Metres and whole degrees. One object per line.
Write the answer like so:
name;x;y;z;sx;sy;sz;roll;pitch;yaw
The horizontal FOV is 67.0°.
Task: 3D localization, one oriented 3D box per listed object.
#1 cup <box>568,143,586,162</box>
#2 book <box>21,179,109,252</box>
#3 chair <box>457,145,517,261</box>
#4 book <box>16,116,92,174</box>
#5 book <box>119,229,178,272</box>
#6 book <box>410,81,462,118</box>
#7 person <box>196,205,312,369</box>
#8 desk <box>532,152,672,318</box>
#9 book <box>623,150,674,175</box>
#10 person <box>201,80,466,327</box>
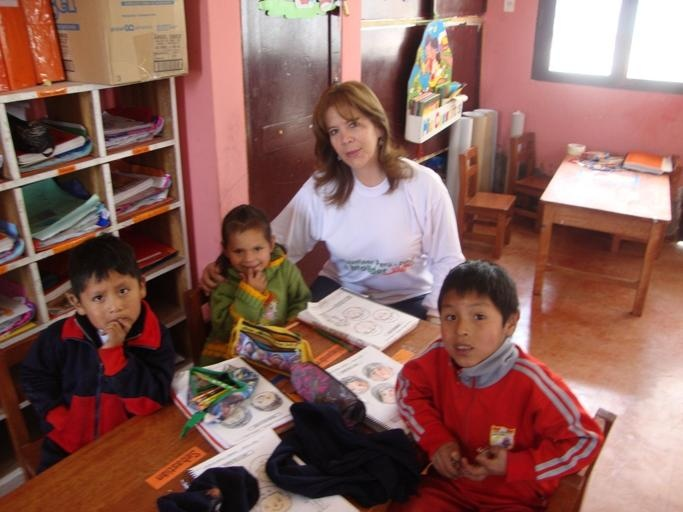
cup;2.036;-0.904;4.464;0.190;0.112;0.186;2;30;-1
book;-1.276;-0.184;2.353;0.365;0.128;0.340;-26;50;-34
chair;1.214;-0.428;4.370;0.565;1.002;0.580;9;39;22
book;-1.215;-0.470;2.198;0.263;0.091;0.256;-20;37;-33
book;-1.034;-0.046;2.731;0.236;0.056;0.245;27;34;30
book;0.702;-1.194;3.943;0.080;0.101;0.482;34;40;21
person;-0.350;0.269;2.277;0.486;0.890;0.334;-6;27;-10
desk;2.069;-0.160;4.042;0.759;0.648;1.378;14;23;31
book;2.434;-0.737;4.117;0.293;0.088;0.293;13;34;26
person;0.019;-0.228;2.355;1.216;0.978;0.681;4;27;30
